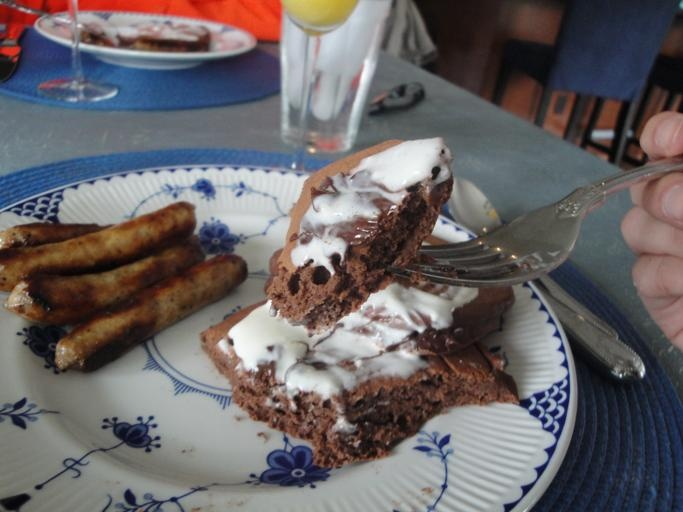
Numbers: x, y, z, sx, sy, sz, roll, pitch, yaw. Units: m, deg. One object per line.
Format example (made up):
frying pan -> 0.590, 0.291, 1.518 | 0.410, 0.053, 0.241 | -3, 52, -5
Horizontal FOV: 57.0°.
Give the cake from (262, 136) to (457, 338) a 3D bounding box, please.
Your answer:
cake -> 0.103, -0.066, 2.281 | 0.475, 0.225, 0.730 | 36, 89, 18
